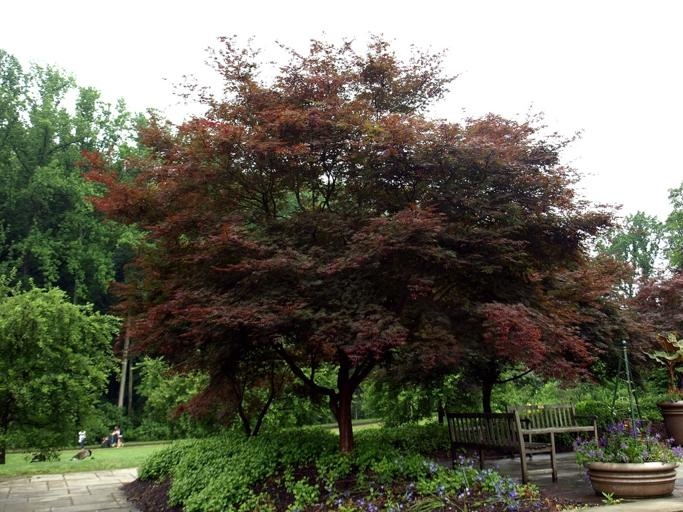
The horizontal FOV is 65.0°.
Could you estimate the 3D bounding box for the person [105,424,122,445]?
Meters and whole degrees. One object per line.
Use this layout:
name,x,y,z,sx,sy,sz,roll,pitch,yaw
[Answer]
person,-12.407,9.796,29.285,0.805,0.902,1.805,3,-15,-22
